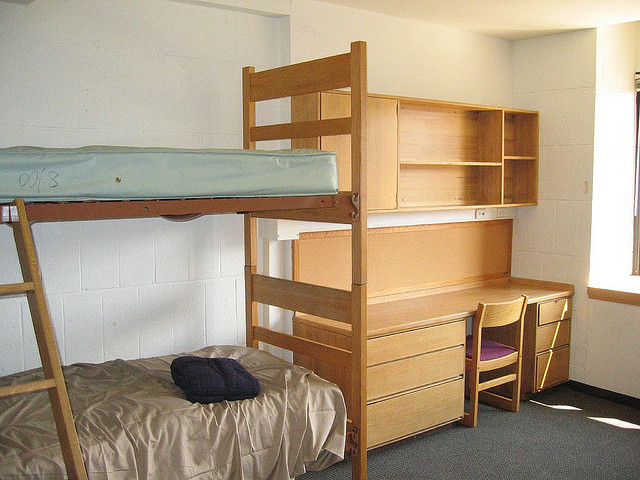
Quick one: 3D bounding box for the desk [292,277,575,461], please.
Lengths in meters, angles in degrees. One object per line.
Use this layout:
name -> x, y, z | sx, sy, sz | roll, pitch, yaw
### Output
desk -> 1.114, 0.918, 4.276 | 2.336, 1.039, 0.690 | -4, 5, -32

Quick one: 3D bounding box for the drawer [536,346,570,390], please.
drawer -> 2.034, 1.107, 4.490 | 0.393, 0.300, 0.198 | -7, 8, -41

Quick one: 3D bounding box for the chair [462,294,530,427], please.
chair -> 1.297, 0.928, 4.259 | 0.555, 1.012, 0.700 | -4, 8, -18

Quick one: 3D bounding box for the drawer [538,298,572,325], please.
drawer -> 2.048, 0.613, 4.466 | 0.290, 0.224, 0.136 | -9, 5, -31
